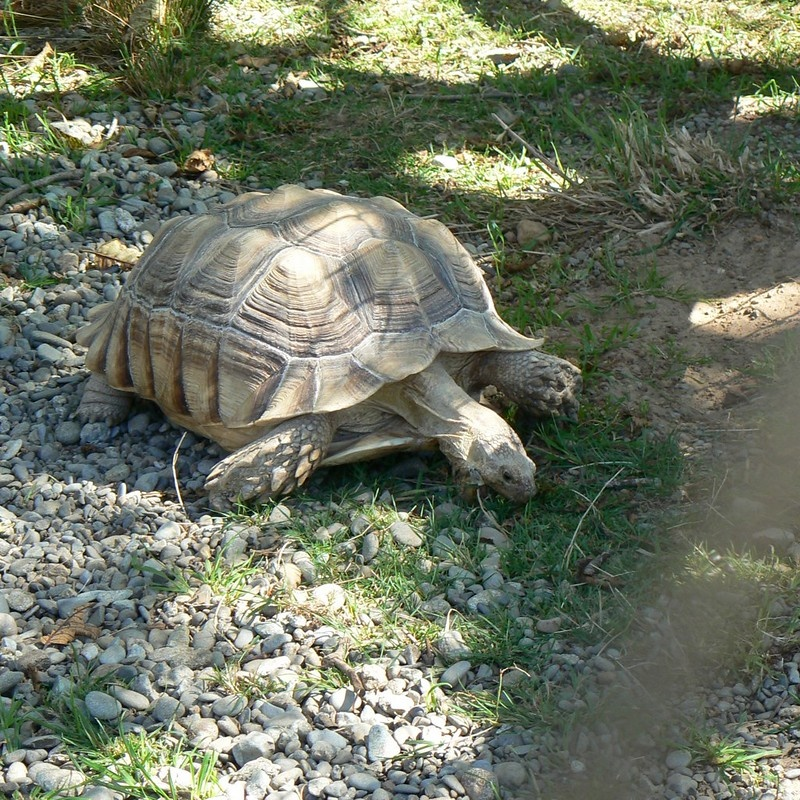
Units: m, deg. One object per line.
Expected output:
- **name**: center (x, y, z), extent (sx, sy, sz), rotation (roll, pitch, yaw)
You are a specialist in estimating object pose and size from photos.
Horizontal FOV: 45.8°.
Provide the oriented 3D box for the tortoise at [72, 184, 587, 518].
- **tortoise**: center (-0.271, -0.205, 3.623), extent (1.961, 0.928, 1.220), rotation (9, 34, 8)
